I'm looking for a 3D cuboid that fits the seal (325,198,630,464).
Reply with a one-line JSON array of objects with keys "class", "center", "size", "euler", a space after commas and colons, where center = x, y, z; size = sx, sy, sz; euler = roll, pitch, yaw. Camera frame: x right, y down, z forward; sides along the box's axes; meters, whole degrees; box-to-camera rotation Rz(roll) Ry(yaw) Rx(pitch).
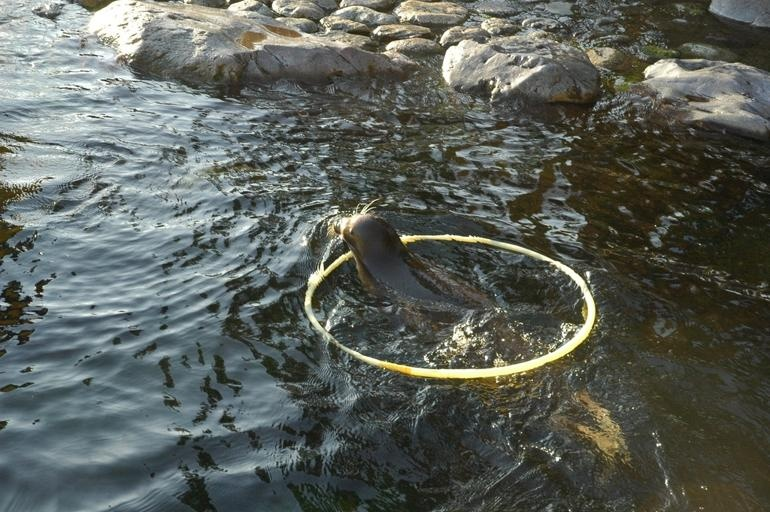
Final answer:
[{"class": "seal", "center": [1.924, 0.474, 9.206], "size": [5.349, 0.492, 2.306], "euler": [19, 26, 3]}]
